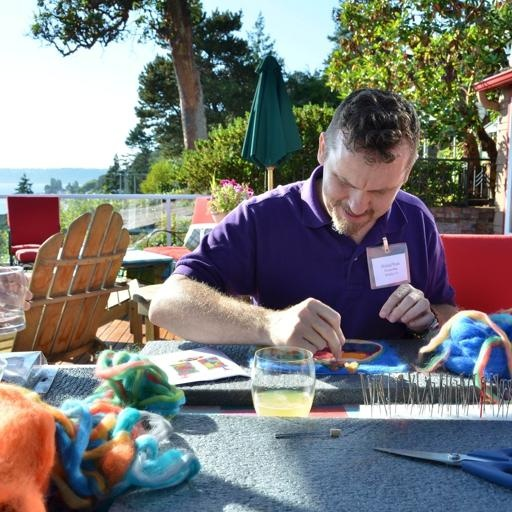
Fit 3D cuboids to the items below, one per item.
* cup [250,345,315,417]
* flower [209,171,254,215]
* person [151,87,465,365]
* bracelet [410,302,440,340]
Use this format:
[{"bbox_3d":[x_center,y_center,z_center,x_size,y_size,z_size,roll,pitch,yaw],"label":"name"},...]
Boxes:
[{"bbox_3d":[0.049,0.220,0.888,0.121,0.126,0.113,0,-1,0],"label":"cup"},{"bbox_3d":[-0.297,-0.666,5.626,0.804,0.496,0.720,0,2,-4],"label":"flower"},{"bbox_3d":[0.204,-0.122,1.636,0.801,0.823,0.943,3,2,31],"label":"person"},{"bbox_3d":[0.504,0.196,1.474,0.051,0.106,0.082,0,-16,-28],"label":"bracelet"}]
